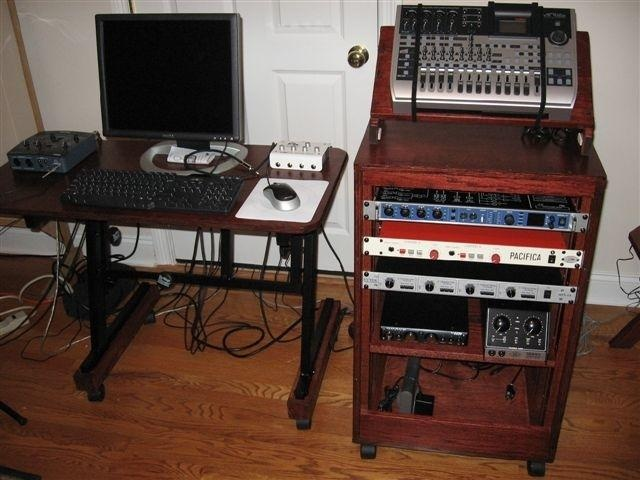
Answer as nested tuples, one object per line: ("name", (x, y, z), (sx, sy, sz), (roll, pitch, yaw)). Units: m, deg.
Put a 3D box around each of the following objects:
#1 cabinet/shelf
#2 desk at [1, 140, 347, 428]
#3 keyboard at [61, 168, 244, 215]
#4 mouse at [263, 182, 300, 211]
("cabinet/shelf", (0.532, 0.068, 1.955), (0.802, 1.557, 0.445), (4, 20, 9))
("desk", (-0.569, 0.135, 2.354), (1.318, 1.059, 0.825), (4, 20, 10))
("keyboard", (-0.600, -0.173, 1.927), (0.473, 0.077, 0.178), (2, 37, 6))
("mouse", (-0.135, -0.152, 1.900), (0.090, 0.073, 0.135), (-13, 24, -33))
